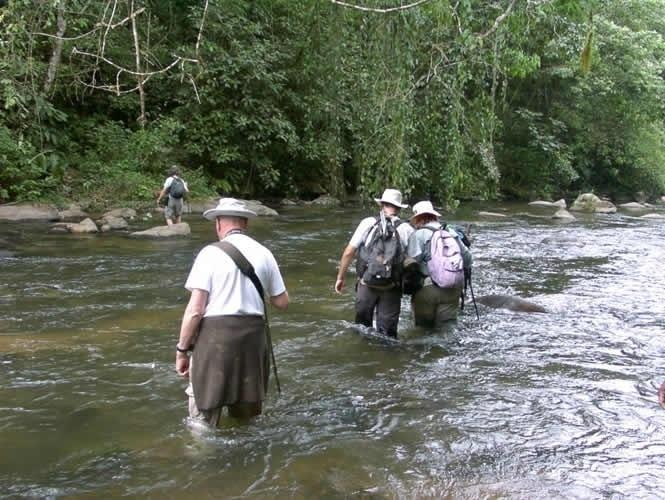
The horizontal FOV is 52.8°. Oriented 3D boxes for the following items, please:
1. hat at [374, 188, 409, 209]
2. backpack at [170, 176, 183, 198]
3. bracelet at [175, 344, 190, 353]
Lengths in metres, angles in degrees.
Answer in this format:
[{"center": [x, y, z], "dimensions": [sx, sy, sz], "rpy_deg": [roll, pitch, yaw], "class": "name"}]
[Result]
[{"center": [0.952, -0.720, 10.086], "dimensions": [0.357, 0.151, 0.410], "rpy_deg": [22, 6, 34], "class": "hat"}, {"center": [-4.350, -1.755, 18.767], "dimensions": [0.311, 0.606, 0.426], "rpy_deg": [2, 5, 5], "class": "backpack"}, {"center": [-1.711, 1.119, 7.605], "dimensions": [0.112, 0.041, 0.109], "rpy_deg": [0, 3, 24], "class": "bracelet"}]
